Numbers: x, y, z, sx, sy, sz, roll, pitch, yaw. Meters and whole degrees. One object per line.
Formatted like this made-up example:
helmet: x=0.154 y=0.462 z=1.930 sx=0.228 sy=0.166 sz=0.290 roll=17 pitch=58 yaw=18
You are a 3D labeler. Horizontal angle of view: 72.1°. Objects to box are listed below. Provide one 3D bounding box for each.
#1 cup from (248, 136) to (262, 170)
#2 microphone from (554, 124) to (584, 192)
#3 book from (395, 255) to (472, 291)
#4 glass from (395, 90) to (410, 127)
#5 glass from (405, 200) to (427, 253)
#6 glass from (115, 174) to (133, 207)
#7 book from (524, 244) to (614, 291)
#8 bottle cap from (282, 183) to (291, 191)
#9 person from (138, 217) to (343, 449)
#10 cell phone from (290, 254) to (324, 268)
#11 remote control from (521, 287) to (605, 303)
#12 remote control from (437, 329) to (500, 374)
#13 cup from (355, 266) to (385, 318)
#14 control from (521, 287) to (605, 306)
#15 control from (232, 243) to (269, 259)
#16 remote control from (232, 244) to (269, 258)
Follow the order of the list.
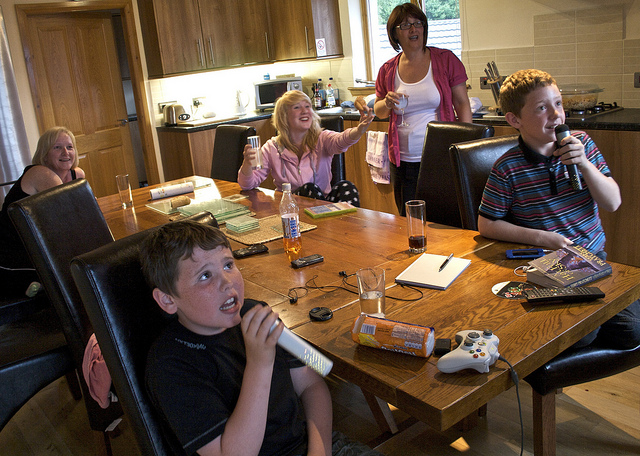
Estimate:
cup: x=-0.402 y=-0.469 z=2.711 sx=0.067 sy=0.186 sz=0.099 roll=-9 pitch=18 yaw=-10
microphone: x=0.961 y=-0.260 z=1.690 sx=0.117 sy=0.270 sz=0.161 roll=5 pitch=20 yaw=30
book: x=0.420 y=0.160 z=1.613 sx=0.146 sy=0.012 sz=0.162 roll=6 pitch=28 yaw=28
glass: x=0.601 y=-0.860 z=3.198 sx=0.094 sy=0.266 sz=0.306 roll=-2 pitch=18 yaw=12
glass: x=0.412 y=-0.020 z=1.861 sx=0.082 sy=0.200 sz=0.209 roll=-2 pitch=18 yaw=13
glass: x=-1.325 y=-0.268 z=2.955 sx=0.084 sy=0.207 sz=0.278 roll=-14 pitch=19 yaw=-23
book: x=0.842 y=0.134 z=1.489 sx=0.267 sy=0.062 sz=0.160 roll=-13 pitch=19 yaw=-19
bottle cap: x=-0.164 y=-0.201 z=2.118 sx=0.035 sy=0.026 sz=0.035 roll=-1 pitch=9 yaw=3
person: x=-0.225 y=0.362 z=1.261 sx=0.523 sy=0.755 sz=0.390 roll=-9 pitch=18 yaw=-11
cell phone: x=-0.055 y=0.134 z=1.842 sx=0.106 sy=0.018 sz=0.058 roll=-13 pitch=21 yaw=-26
remote control: x=0.762 y=0.204 z=1.371 sx=0.167 sy=0.017 sz=0.086 roll=-3 pitch=10 yaw=2
remote control: x=0.402 y=0.326 z=1.176 sx=0.151 sy=0.070 sz=0.185 roll=-1 pitch=13 yaw=44
cup: x=0.167 y=0.228 z=1.429 sx=0.099 sy=0.159 sz=0.099 roll=-9 pitch=-1 yaw=0
control: x=0.760 y=0.208 z=1.372 sx=0.183 sy=0.019 sz=0.088 roll=-2 pitch=17 yaw=1
control: x=-0.320 y=0.102 z=2.017 sx=0.165 sy=0.023 sz=0.090 roll=-12 pitch=19 yaw=-19
remote control: x=-0.319 y=0.088 z=2.000 sx=0.119 sy=0.015 sz=0.067 roll=-12 pitch=18 yaw=-27
